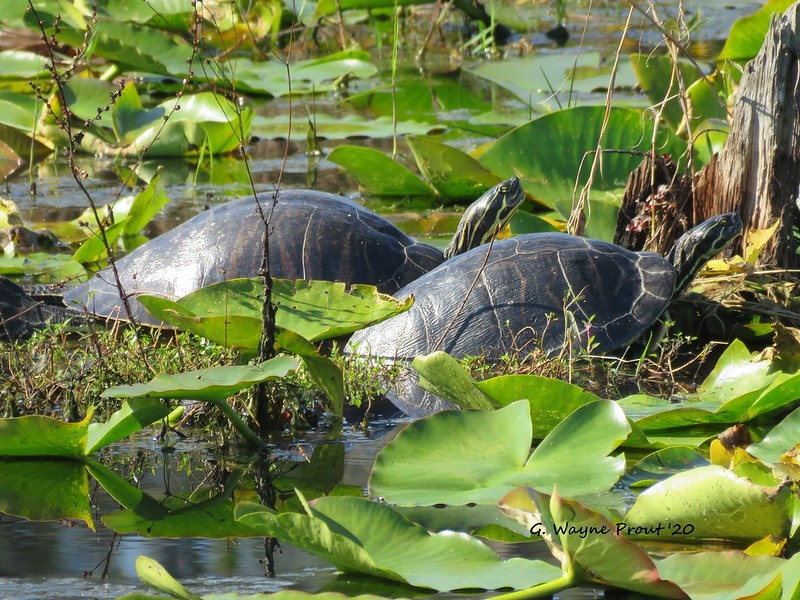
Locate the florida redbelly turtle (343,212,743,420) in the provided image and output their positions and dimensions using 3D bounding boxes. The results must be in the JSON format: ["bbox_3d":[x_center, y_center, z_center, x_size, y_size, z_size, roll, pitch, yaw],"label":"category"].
[{"bbox_3d":[0.762,-0.012,6.629,1.424,0.380,1.044,-9,14,-3],"label":"florida redbelly turtle"}]
